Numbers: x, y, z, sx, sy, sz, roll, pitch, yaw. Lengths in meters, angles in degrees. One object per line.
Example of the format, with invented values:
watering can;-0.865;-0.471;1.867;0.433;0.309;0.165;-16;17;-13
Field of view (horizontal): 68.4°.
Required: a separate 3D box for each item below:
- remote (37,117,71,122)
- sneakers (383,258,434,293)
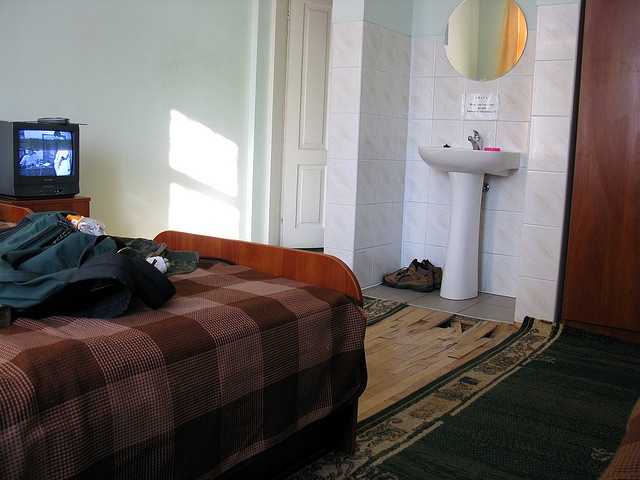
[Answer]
remote;-1.898;-0.843;3.350;0.193;0.035;0.100;-2;13;-14
sneakers;0.725;0.294;3.940;0.458;0.292;0.178;2;-8;36
